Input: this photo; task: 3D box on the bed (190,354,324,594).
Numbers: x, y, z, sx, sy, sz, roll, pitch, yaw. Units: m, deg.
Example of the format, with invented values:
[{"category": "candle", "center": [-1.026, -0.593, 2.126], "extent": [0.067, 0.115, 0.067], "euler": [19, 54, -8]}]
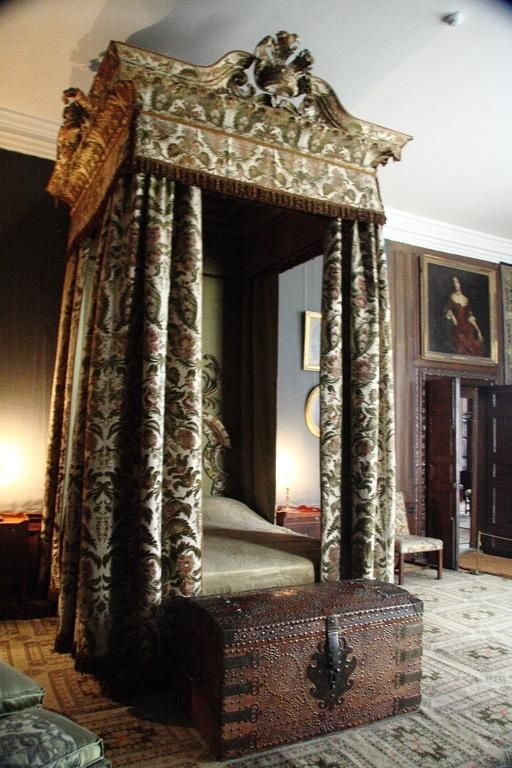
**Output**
[{"category": "bed", "center": [-0.002, 0.400, 4.119], "extent": [0.743, 1.386, 2.160], "euler": [4, -5, -5]}]

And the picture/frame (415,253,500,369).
[{"category": "picture/frame", "center": [2.495, -0.890, 8.225], "extent": [1.528, 1.469, 0.111], "euler": [6, -12, -31]}]

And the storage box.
[{"category": "storage box", "center": [0.187, 1.234, 3.004], "extent": [1.034, 0.533, 0.611], "euler": [4, -5, -29]}]

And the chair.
[{"category": "chair", "center": [1.438, 1.483, 6.492], "extent": [0.652, 0.861, 0.624], "euler": [-3, -5, 44]}]
